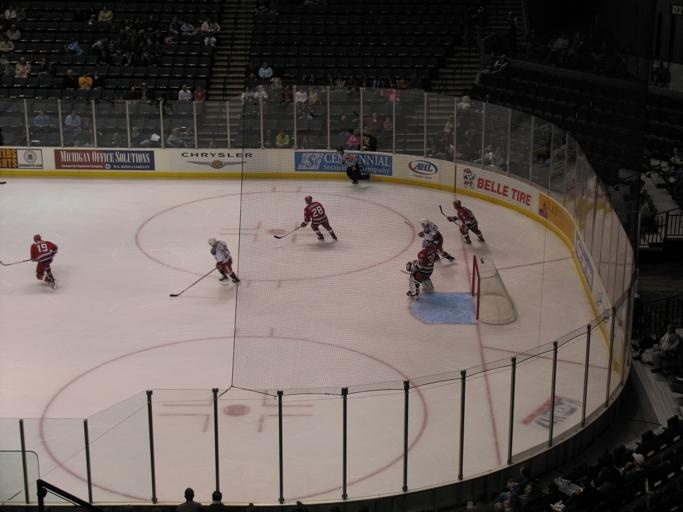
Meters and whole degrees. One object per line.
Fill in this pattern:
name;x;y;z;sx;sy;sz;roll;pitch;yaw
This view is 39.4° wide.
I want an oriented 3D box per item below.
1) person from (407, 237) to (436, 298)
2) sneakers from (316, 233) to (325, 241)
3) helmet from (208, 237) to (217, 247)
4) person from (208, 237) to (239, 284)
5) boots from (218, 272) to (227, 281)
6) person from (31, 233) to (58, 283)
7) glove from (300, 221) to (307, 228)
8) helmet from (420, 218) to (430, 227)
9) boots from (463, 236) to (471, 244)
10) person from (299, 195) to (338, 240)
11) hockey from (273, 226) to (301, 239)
person;1.950;0.320;23.469;0.708;1.386;1.059;-1;2;5
sneakers;-0.618;-0.519;26.633;0.062;0.157;0.171;-41;-11;9
helmet;-3.226;-0.310;23.819;0.209;0.255;0.115;4;43;-1
person;-2.951;0.128;24.189;0.704;1.118;0.954;-1;2;-7
boots;-3.050;0.541;24.371;0.274;0.244;0.131;19;38;23
person;-7.523;0.107;24.216;0.594;1.234;0.965;-2;2;-16
glove;-1.050;-0.853;26.558;0.168;0.166;0.123;-17;43;-33
helmet;2.088;-0.826;23.943;0.187;0.153;0.204;-1;2;0
boots;3.414;-0.411;26.090;0.126;0.218;0.140;-15;-12;3
person;-0.647;-1.026;26.522;0.979;1.256;1.124;-1;2;-3
hockey;-1.560;-0.636;26.814;0.411;0.324;1.074;0;2;22
